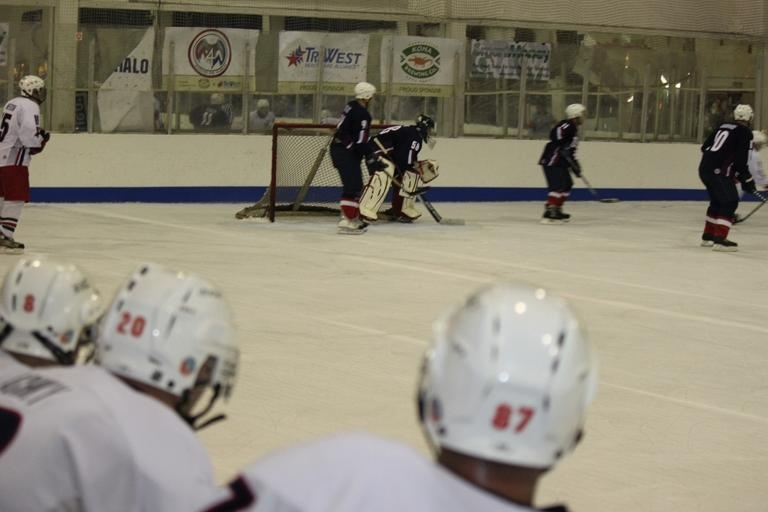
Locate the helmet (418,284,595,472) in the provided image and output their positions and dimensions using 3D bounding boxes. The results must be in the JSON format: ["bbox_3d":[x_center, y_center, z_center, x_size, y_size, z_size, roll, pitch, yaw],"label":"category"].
[{"bbox_3d":[0.185,0.174,0.978,0.222,0.276,0.237,9,5,5],"label":"helmet"}]

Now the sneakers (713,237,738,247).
[{"bbox_3d":[4.255,-0.175,7.388,0.329,0.143,0.117,2,10,-15],"label":"sneakers"}]

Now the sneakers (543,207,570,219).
[{"bbox_3d":[2.801,-0.710,9.660,0.503,0.240,0.210,-2,12,-16],"label":"sneakers"}]

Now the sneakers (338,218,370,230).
[{"bbox_3d":[-0.454,-0.475,8.416,0.486,0.166,0.173,-3,12,-25],"label":"sneakers"}]

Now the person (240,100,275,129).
[{"bbox_3d":[-2.500,-2.812,11.858,0.370,0.697,0.705,31,34,35],"label":"person"}]

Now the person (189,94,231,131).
[{"bbox_3d":[-3.399,-2.794,11.616,0.568,0.791,0.380,17,18,2],"label":"person"}]

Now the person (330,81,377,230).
[{"bbox_3d":[-0.508,-1.497,8.648,0.643,2.136,1.090,1,11,-2],"label":"person"}]

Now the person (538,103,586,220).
[{"bbox_3d":[2.982,-1.633,9.997,0.665,1.921,1.320,5,12,19],"label":"person"}]

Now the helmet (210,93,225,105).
[{"bbox_3d":[-3.259,-3.089,11.481,0.221,0.182,0.168,7,15,12],"label":"helmet"}]

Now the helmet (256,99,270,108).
[{"bbox_3d":[-2.408,-3.038,11.624,0.196,0.181,0.147,-24,28,-28],"label":"helmet"}]

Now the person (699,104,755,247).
[{"bbox_3d":[4.499,-1.103,7.812,0.628,1.842,1.593,8,13,31],"label":"person"}]
